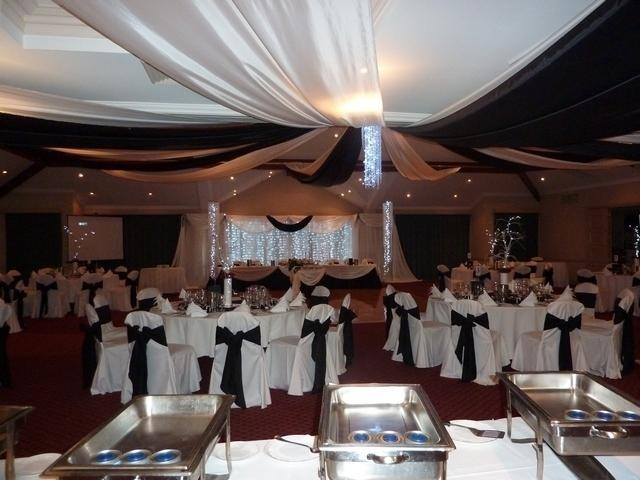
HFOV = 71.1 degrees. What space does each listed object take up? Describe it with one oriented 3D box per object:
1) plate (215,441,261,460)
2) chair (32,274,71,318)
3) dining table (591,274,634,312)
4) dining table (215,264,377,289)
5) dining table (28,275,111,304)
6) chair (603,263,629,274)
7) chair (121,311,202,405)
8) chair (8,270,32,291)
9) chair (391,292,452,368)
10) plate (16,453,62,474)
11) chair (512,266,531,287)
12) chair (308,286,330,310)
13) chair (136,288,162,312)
[{"bbox_3d":[-0.399,1.015,2.139,0.116,0.016,0.118,3,-2,-21],"label":"plate"},{"bbox_3d":[-5.337,1.112,9.052,0.547,0.851,0.795,1,-3,7],"label":"chair"},{"bbox_3d":[5.126,0.934,7.887,0.759,0.783,0.782,0,-2,14],"label":"dining table"},{"bbox_3d":[-0.387,1.054,12.644,4.224,0.882,1.107,3,-3,-17],"label":"dining table"},{"bbox_3d":[-5.195,0.971,9.233,0.917,0.359,0.960,0,-7,-13],"label":"dining table"},{"bbox_3d":[6.418,0.632,9.779,0.315,0.239,0.326,-2,-2,33],"label":"chair"},{"bbox_3d":[-1.655,1.200,4.654,0.624,0.942,0.515,1,-3,13],"label":"chair"},{"bbox_3d":[-6.263,0.837,9.393,0.439,0.502,0.535,5,-19,-22],"label":"chair"},{"bbox_3d":[1.302,1.114,6.143,0.816,1.076,0.811,-2,5,-26],"label":"chair"},{"bbox_3d":[-1.316,1.058,2.105,0.178,0.053,0.185,2,-3,-11],"label":"plate"},{"bbox_3d":[3.937,0.692,8.800,0.289,0.427,0.201,2,-9,9],"label":"chair"},{"bbox_3d":[0.013,0.806,6.214,0.270,0.138,0.513,1,22,13],"label":"chair"},{"bbox_3d":[-2.259,0.743,5.959,0.352,0.432,0.381,0,-3,-16],"label":"chair"}]
